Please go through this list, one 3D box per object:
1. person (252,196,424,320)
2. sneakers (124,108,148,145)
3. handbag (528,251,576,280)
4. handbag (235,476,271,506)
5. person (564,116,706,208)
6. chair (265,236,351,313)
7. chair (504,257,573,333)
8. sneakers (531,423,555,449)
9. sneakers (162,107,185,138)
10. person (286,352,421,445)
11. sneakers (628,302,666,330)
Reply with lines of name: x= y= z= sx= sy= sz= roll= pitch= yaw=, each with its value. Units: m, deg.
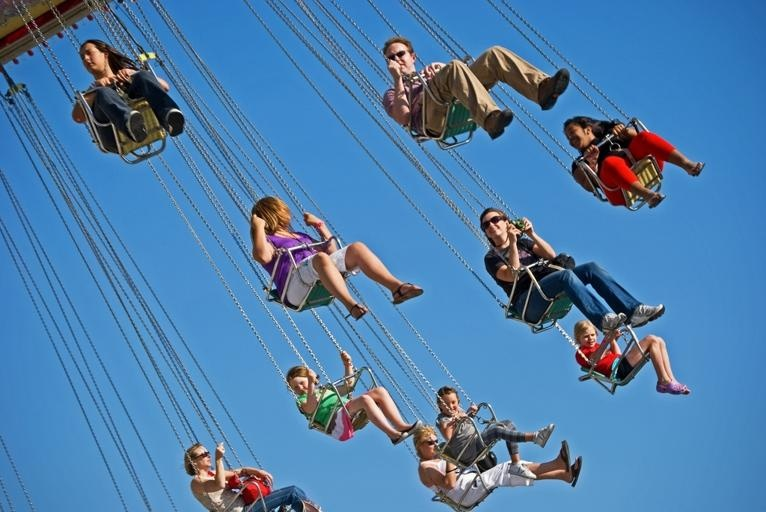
person: x=-0.518 y=-0.009 z=18.505 sx=2.068 sy=1.434 sz=1.133 roll=9 pitch=26 yaw=37
sneakers: x=-2.907 y=-1.519 z=18.238 sx=0.179 sy=0.372 sz=0.144 roll=-26 pitch=27 yaw=-32
handbag: x=1.982 y=0.139 z=18.164 sx=0.293 sy=0.164 sz=0.390 roll=-24 pitch=-5 yaw=-26
handbag: x=-1.654 y=2.993 z=19.662 sx=0.165 sy=0.300 sz=0.307 roll=-60 pitch=8 yaw=18
person: x=2.969 y=-1.182 z=18.787 sx=1.172 sy=0.745 sz=1.929 roll=-34 pitch=28 yaw=-29
chair: x=-0.864 y=0.202 z=17.614 sx=0.575 sy=0.525 sz=0.624 roll=-8 pitch=-55 yaw=-39
chair: x=1.803 y=0.395 z=17.965 sx=0.703 sy=0.736 sz=0.797 roll=-32 pitch=10 yaw=-25
sneakers: x=1.981 y=2.217 z=18.942 sx=0.145 sy=0.212 sz=0.319 roll=5 pitch=-28 yaw=-41
sneakers: x=-2.441 y=-1.549 z=18.137 sx=0.262 sy=0.297 sz=0.392 roll=-10 pitch=-21 yaw=-9
person: x=-0.432 y=1.813 z=19.122 sx=0.762 sy=1.502 sz=1.637 roll=5 pitch=-27 yaw=-40
sneakers: x=3.053 y=0.671 z=18.082 sx=0.234 sy=0.233 sz=0.452 roll=1 pitch=-26 yaw=-35
